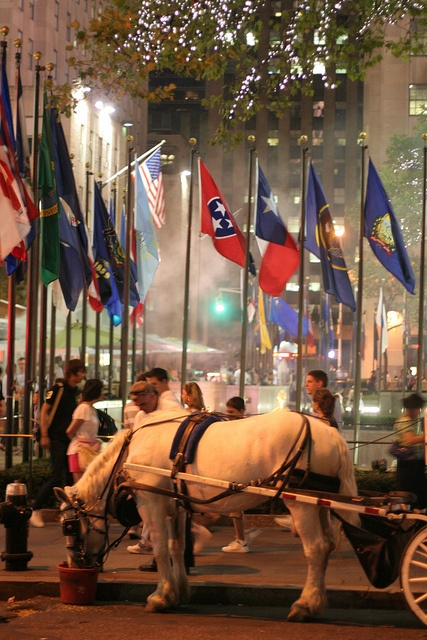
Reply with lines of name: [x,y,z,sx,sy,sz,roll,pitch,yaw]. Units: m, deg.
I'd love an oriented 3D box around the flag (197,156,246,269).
flag: [0.175,-2.027,18.423,0.931,2.011,0.712,2,-2,-2]

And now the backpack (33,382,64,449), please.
backpack: [-2.005,1.171,12.189,0.520,0.700,0.194,9,-12,37]

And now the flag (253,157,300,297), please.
flag: [1.190,-1.742,18.315,0.862,3.000,0.363,-9,-24,20]

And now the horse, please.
horse: [-0.067,1.834,9.173,3.098,1.924,0.798,-4,-5,21]

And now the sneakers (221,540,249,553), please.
sneakers: [0.271,2.572,11.108,0.311,0.138,0.125,1,-17,12]

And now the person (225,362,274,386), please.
person: [1.772,2.178,41.421,1.582,0.587,1.173,4,-4,-11]

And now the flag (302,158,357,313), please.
flag: [2.177,-1.590,18.547,0.777,2.853,1.487,3,-2,-16]

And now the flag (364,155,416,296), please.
flag: [3.366,-1.847,18.642,0.861,2.613,1.160,2,-2,-10]

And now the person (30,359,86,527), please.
person: [-1.873,1.497,12.208,0.778,2.123,0.637,-2,10,-17]

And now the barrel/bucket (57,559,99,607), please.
barrel/bucket: [-1.256,2.514,9.287,0.459,0.330,0.432,1,-9,0]

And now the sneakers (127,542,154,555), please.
sneakers: [-0.831,2.580,11.053,0.320,0.147,0.115,4,-7,6]

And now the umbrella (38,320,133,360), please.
umbrella: [-3.183,0.502,26.340,1.710,0.830,1.704,1,-2,-12]
